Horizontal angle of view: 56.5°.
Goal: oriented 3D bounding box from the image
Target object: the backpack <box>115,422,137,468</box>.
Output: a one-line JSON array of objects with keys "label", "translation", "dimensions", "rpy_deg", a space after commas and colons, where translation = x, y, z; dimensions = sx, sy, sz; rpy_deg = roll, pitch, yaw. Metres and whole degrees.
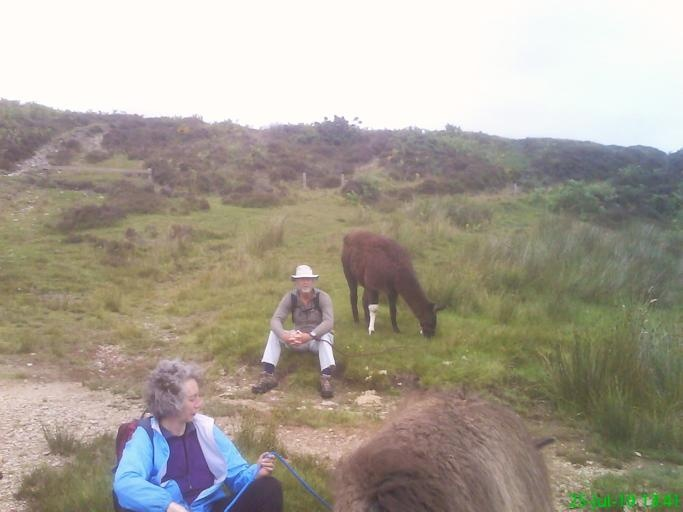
[{"label": "backpack", "translation": [-2.601, 2.239, 7.694], "dimensions": [0.266, 0.432, 0.314], "rpy_deg": [-2, 10, -19]}]

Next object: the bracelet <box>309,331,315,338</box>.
[{"label": "bracelet", "translation": [-0.512, 1.366, 11.115], "dimensions": [0.101, 0.117, 0.156], "rpy_deg": [1, 10, 0]}]

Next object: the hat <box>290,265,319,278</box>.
[{"label": "hat", "translation": [-0.670, 0.287, 11.199], "dimensions": [0.422, 0.254, 0.283], "rpy_deg": [0, 10, -6]}]

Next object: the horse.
[{"label": "horse", "translation": [0.857, 0.614, 13.102], "dimensions": [0.867, 2.188, 2.928], "rpy_deg": [-15, 24, -36]}]
